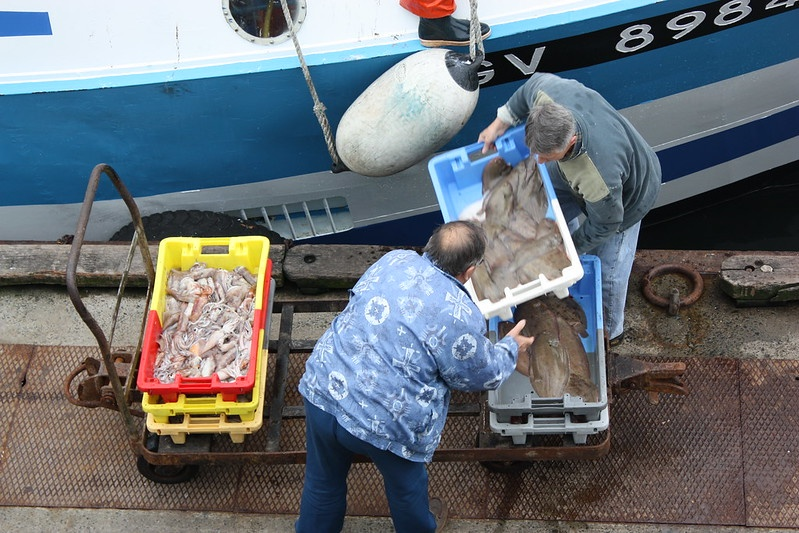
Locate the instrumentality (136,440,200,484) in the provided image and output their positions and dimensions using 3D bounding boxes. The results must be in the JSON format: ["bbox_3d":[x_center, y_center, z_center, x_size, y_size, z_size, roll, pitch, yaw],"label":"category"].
[{"bbox_3d":[-1.520,1.292,5.403,0.445,0.331,0.284,-2,84,20],"label":"instrumentality"}]

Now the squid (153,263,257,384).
[{"bbox_3d":[-1.199,0.443,5.405,0.755,0.559,1.074,-2,66,-3],"label":"squid"}]

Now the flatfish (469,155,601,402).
[{"bbox_3d":[0.846,0.052,5.320,0.806,0.608,1.553,-1,91,-18],"label":"flatfish"}]

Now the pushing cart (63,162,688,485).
[{"bbox_3d":[-0.259,0.155,4.936,3.159,2.027,1.089,-6,34,6],"label":"pushing cart"}]

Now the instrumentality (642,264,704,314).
[{"bbox_3d":[2.046,0.163,5.957,0.375,0.171,0.404,-4,54,2],"label":"instrumentality"}]
